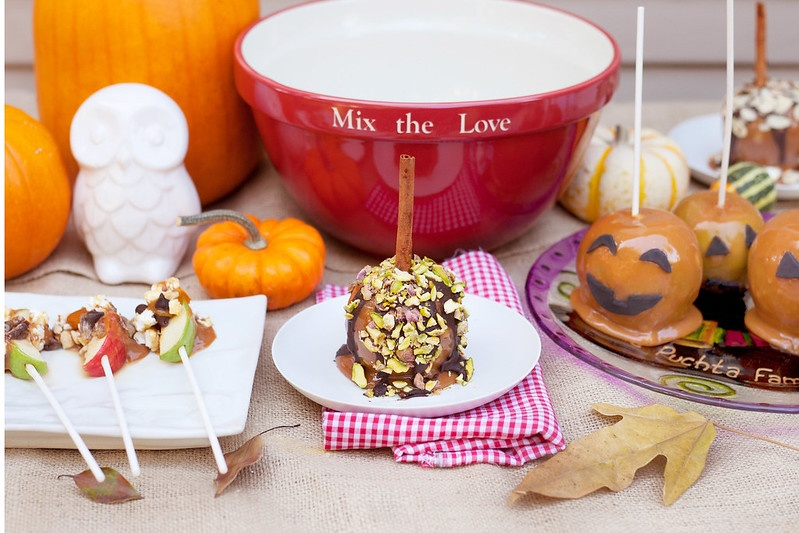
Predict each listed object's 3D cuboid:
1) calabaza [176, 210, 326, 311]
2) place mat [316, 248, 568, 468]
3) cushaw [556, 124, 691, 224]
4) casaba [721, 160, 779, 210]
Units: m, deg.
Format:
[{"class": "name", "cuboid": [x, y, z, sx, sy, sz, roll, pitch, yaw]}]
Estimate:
[{"class": "calabaza", "cuboid": [-0.228, -0.056, 1.389, 0.227, 0.170, 0.271, -18, 14, -6]}, {"class": "place mat", "cuboid": [0.058, 0.087, 1.129, 0.368, 0.275, 0.313, -18, 29, -42]}, {"class": "cushaw", "cuboid": [0.420, -0.170, 1.526, 0.228, 0.191, 0.172, -6, 21, -10]}, {"class": "casaba", "cuboid": [0.634, -0.144, 1.462, 0.097, 0.127, 0.102, 5, 3, -2]}]
